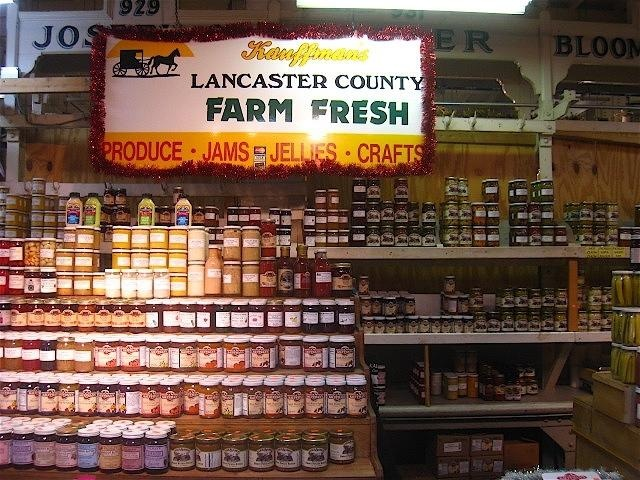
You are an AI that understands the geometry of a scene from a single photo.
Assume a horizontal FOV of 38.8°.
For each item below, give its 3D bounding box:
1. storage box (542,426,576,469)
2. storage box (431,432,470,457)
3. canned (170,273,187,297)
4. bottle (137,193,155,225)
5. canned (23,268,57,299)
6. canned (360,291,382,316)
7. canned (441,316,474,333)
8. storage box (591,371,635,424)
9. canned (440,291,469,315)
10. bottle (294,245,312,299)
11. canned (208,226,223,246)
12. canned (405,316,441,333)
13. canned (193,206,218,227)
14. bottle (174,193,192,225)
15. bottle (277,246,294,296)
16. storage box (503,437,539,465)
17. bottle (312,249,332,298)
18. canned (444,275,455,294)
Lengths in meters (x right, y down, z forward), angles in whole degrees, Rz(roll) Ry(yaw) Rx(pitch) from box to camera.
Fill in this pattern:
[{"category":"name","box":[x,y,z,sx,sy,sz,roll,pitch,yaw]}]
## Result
[{"category":"storage box","box":[1.849,1.581,7.044,0.247,0.328,0.219,2,3,17]},{"category":"storage box","box":[1.023,1.570,7.000,0.198,0.116,0.188,0,-6,-2]},{"category":"canned","box":[-0.937,0.308,6.189,0.149,0.149,0.142,0,0,3]},{"category":"bottle","box":[-1.181,-0.196,6.324,0.096,0.184,0.106,1,3,1]},{"category":"canned","box":[-1.881,0.292,6.243,0.206,0.199,0.201,-1,-3,22]},{"category":"canned","box":[0.400,0.495,6.985,0.164,0.146,0.155,1,-9,-4]},{"category":"canned","box":[1.069,0.648,7.039,0.274,0.126,0.049,0,3,-16]},{"category":"storage box","box":[1.908,1.032,5.957,0.135,0.272,0.326,0,3,-13]},{"category":"canned","box":[1.055,0.496,7.171,0.254,0.164,0.170,2,3,27]},{"category":"bottle","box":[-0.104,0.210,6.252,0.116,0.349,0.116,1,2,0]},{"category":"canned","box":[-0.742,-0.019,6.741,0.124,0.118,0.121,1,1,21]},{"category":"canned","box":[0.808,0.650,7.019,0.280,0.122,0.044,0,3,-6]},{"category":"canned","box":[-0.810,-0.179,6.715,0.156,0.136,0.152,-1,-2,15]},{"category":"bottle","box":[-0.929,-0.198,6.332,0.097,0.186,0.165,1,3,-3]},{"category":"bottle","box":[-0.220,0.211,6.272,0.111,0.327,0.124,1,3,-4]},{"category":"storage box","box":[1.566,1.654,7.094,0.212,0.118,0.201,-1,5,3]},{"category":"bottle","box":[0.032,0.226,6.282,0.134,0.319,0.172,1,3,0]},{"category":"canned","box":[1.035,0.355,7.194,0.083,0.133,0.130,1,3,5]}]
